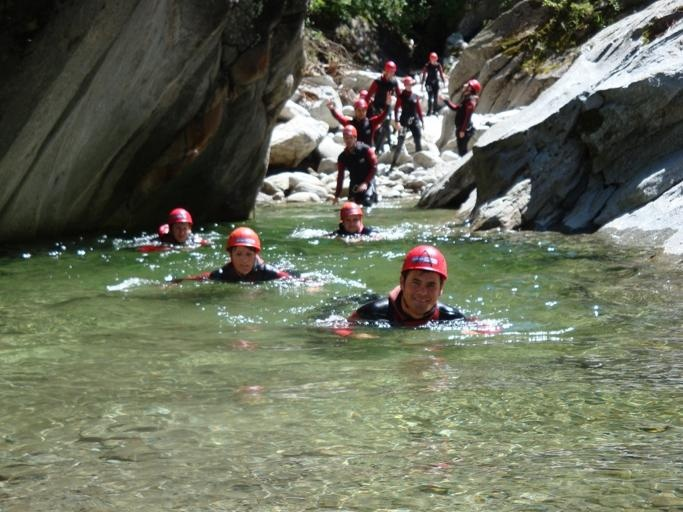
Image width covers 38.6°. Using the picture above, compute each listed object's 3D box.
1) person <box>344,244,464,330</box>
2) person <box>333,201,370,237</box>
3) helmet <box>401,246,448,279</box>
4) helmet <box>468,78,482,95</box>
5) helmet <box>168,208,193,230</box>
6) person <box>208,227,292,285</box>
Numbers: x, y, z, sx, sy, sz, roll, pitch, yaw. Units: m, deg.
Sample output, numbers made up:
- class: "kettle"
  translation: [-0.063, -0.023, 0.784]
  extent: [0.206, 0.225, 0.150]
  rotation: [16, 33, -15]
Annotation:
- class: "person"
  translation: [0.646, 0.272, 8.881]
  extent: [1.046, 0.738, 0.368]
  rotation: [6, 5, 4]
- class: "person"
  translation: [-0.024, -0.579, 13.653]
  extent: [0.558, 0.366, 0.867]
  rotation: [-2, 10, -19]
- class: "helmet"
  translation: [0.761, 0.052, 8.828]
  extent: [0.389, 0.275, 0.247]
  rotation: [5, 5, -7]
- class: "helmet"
  translation: [2.772, -3.533, 20.532]
  extent: [0.240, 0.273, 0.493]
  rotation: [7, 4, 5]
- class: "helmet"
  translation: [-2.175, -0.507, 13.048]
  extent: [0.297, 0.155, 0.354]
  rotation: [3, -10, -25]
- class: "person"
  translation: [-1.004, 0.032, 10.768]
  extent: [1.263, 0.495, 0.544]
  rotation: [0, -1, 28]
